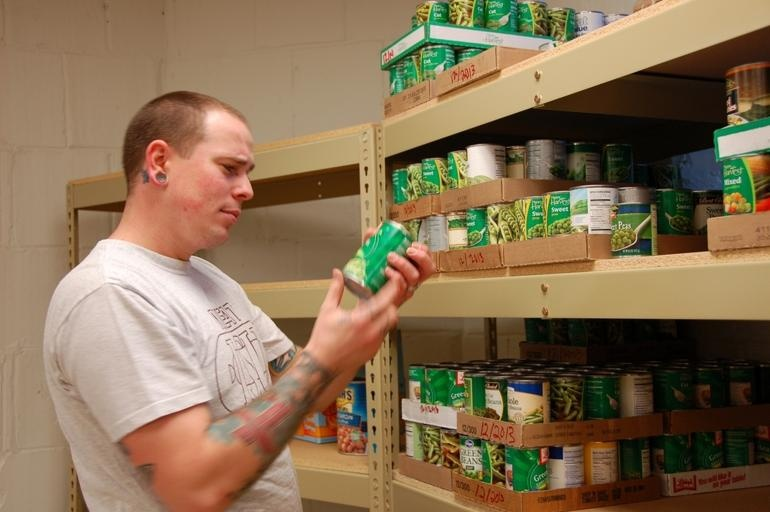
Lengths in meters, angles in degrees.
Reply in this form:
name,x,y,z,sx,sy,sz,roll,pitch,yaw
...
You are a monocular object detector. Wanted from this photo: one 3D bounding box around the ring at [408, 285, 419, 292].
name,x,y,z,sx,sy,sz,roll,pitch,yaw
ring,0.072,0.076,1.549,0.015,0.017,0.019,-11,-32,-5
